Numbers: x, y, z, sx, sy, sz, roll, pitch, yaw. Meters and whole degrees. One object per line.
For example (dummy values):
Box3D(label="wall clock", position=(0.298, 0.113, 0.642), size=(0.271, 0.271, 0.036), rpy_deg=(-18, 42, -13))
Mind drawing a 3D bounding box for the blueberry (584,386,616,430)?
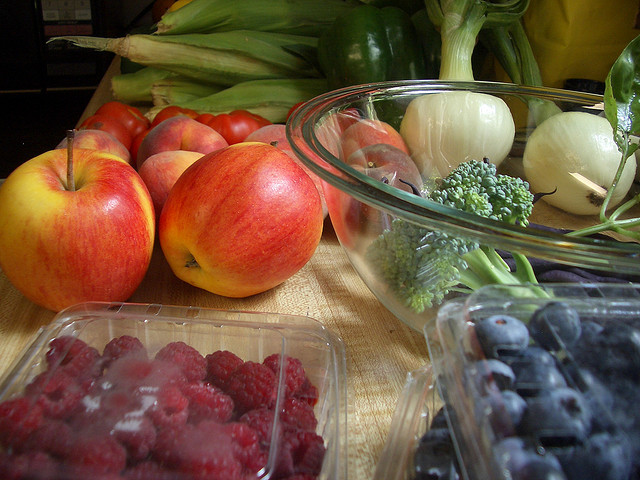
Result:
Box3D(label="blueberry", position=(0.195, 0.118, 0.320), size=(0.013, 0.022, 0.023), rpy_deg=(-1, 60, -3))

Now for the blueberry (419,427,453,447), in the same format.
Box3D(label="blueberry", position=(0.098, 0.168, 0.387), size=(0.019, 0.010, 0.023), rpy_deg=(-7, 13, 20))

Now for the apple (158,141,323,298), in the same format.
Box3D(label="apple", position=(-0.109, -0.037, 0.607), size=(0.174, 0.186, 0.214), rpy_deg=(12, 53, 22))

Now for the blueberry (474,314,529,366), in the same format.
Box3D(label="blueberry", position=(0.134, 0.074, 0.340), size=(0.032, 0.032, 0.031), rpy_deg=(-41, 12, -36))

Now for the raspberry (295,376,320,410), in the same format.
Box3D(label="raspberry", position=(-0.010, 0.135, 0.403), size=(0.015, 0.023, 0.011), rpy_deg=(3, 35, 0))

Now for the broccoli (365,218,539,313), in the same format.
Box3D(label="broccoli", position=(0.128, 0.019, 0.466), size=(0.149, 0.086, 0.091), rpy_deg=(15, 43, 23))

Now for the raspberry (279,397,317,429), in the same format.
Box3D(label="raspberry", position=(-0.017, 0.142, 0.374), size=(0.028, 0.020, 0.025), rpy_deg=(11, 43, 7))

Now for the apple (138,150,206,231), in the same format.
Box3D(label="apple", position=(-0.214, -0.083, 0.713), size=(0.100, 0.129, 0.100), rpy_deg=(4, 15, 17))

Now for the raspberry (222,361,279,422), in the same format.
Box3D(label="raspberry", position=(-0.052, 0.124, 0.382), size=(0.032, 0.041, 0.042), rpy_deg=(20, 71, 14))

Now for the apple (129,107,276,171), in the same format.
Box3D(label="apple", position=(-0.199, -0.170, 0.763), size=(0.171, 0.107, 0.154), rpy_deg=(1, 21, -4))

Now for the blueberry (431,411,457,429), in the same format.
Box3D(label="blueberry", position=(0.103, 0.151, 0.380), size=(0.020, 0.009, 0.019), rpy_deg=(-19, 23, 26))

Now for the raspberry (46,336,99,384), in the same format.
Box3D(label="raspberry", position=(-0.204, 0.098, 0.381), size=(0.028, 0.025, 0.053), rpy_deg=(-2, 17, -5))

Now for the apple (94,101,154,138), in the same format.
Box3D(label="apple", position=(-0.463, -0.262, 1.070), size=(0.108, 0.124, 0.113), rpy_deg=(-4, 17, -21))

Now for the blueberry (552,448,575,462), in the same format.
Box3D(label="blueberry", position=(0.161, 0.143, 0.305), size=(0.008, 0.009, 0.006), rpy_deg=(6, 71, -20))

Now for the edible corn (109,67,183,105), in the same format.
Box3D(label="edible corn", position=(-0.460, -0.424, 1.330), size=(0.179, 0.132, 0.245), rpy_deg=(-9, 20, -16))

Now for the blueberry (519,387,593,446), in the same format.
Box3D(label="blueberry", position=(0.174, 0.130, 0.322), size=(0.031, 0.033, 0.043), rpy_deg=(26, 52, -19))
